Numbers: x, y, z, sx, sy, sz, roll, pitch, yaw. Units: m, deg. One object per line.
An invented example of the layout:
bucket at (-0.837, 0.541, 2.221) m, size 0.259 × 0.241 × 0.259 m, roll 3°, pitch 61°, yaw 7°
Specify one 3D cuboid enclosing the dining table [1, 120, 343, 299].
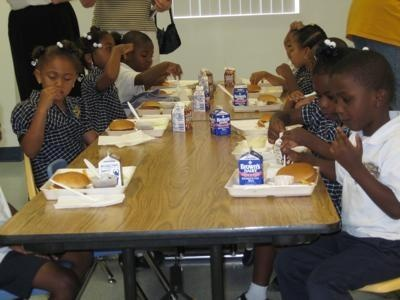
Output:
dining table at (-0.064, 0.273, 1.564) m, size 1.111 × 0.456 × 0.943 m, roll -3°, pitch 21°, yaw 1°
